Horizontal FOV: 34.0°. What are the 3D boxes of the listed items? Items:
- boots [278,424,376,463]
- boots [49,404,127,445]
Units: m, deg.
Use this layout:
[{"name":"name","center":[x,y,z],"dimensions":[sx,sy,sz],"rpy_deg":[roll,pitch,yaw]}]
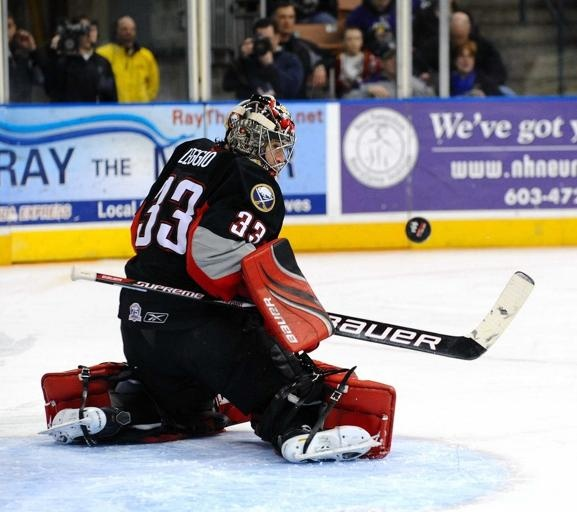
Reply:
[{"name":"boots","center":[0.132,0.612,3.054],"dimensions":[0.358,0.106,0.095],"rpy_deg":[-1,51,-7]},{"name":"boots","center":[-0.663,0.564,3.118],"dimensions":[0.195,0.067,0.161],"rpy_deg":[-7,0,14]}]
